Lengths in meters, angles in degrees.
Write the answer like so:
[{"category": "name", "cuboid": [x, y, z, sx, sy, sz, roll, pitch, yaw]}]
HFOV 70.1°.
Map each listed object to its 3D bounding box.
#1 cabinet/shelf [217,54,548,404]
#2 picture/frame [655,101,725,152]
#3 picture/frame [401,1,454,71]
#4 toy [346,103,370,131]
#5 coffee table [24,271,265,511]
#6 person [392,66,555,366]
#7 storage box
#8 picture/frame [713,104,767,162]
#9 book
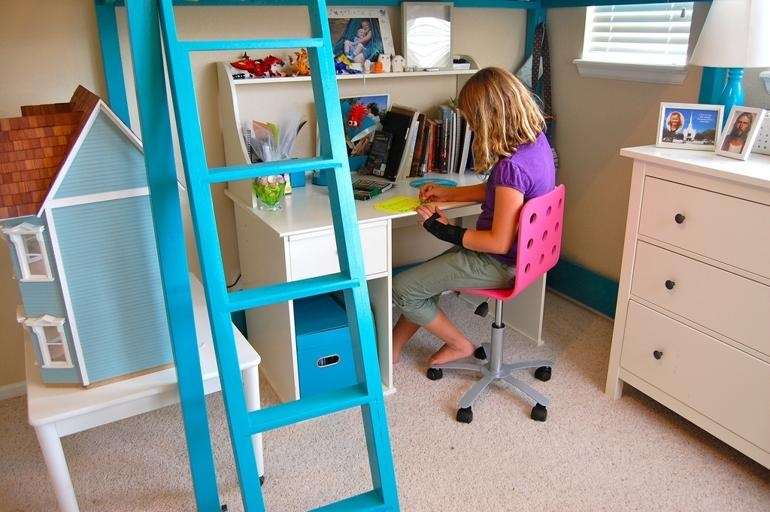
[{"category": "cabinet/shelf", "cuboid": [-0.093, -0.112, 3.494, 2.119, 1.988, 1.522, -14, 32, -25]}, {"category": "picture/frame", "cuboid": [1.411, -0.592, 2.518, 0.234, 0.197, 0.024, 18, 16, 32]}, {"category": "picture/frame", "cuboid": [0.228, -1.277, 3.143, 0.389, 0.439, 0.037, -11, 22, -26]}, {"category": "toy", "cuboid": [-0.163, -0.808, 3.132, 0.115, 0.143, 0.071, 30, 8, -40]}, {"category": "coffee table", "cuboid": [-1.043, 0.548, 2.488, 0.873, 0.792, 0.852, -14, 34, -23]}, {"category": "person", "cuboid": [0.431, -0.121, 2.818, 0.902, 1.544, 0.670, 0, 19, 4]}, {"category": "storage box", "cuboid": [-0.267, 0.437, 2.491, 0.267, 0.430, 0.458, -9, 25, -18]}, {"category": "picture/frame", "cuboid": [1.547, -0.528, 2.382, 0.142, 0.243, 0.174, -18, 32, -25]}, {"category": "book", "cuboid": [0.174, -0.650, 3.148, 0.550, 0.192, 0.431, -12, 19, -33]}]
